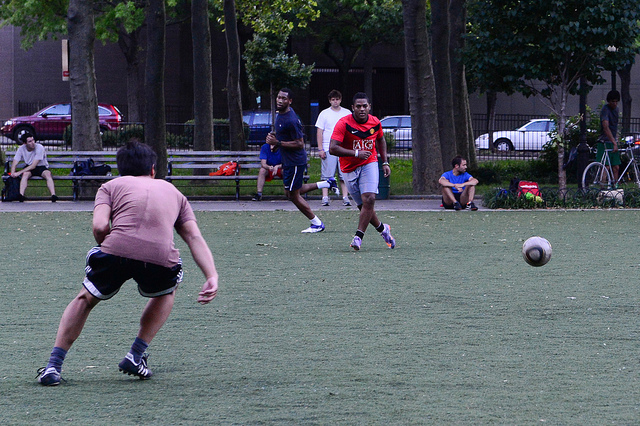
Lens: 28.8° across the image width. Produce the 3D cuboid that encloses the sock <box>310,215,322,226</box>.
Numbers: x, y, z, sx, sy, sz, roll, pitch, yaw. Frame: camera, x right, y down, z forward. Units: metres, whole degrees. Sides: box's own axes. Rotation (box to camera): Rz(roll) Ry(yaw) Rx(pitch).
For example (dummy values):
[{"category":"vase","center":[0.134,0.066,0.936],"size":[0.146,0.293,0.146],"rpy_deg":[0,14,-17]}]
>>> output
[{"category":"sock","center":[-0.051,0.120,23.594],"size":[0.176,0.170,0.199],"rpy_deg":[-1,14,-1]}]

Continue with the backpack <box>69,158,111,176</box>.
[{"category":"backpack","center":[-5.426,-1.105,29.655],"size":[0.672,0.273,0.427],"rpy_deg":[1,-2,-9]}]

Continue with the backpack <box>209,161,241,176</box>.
[{"category":"backpack","center":[-2.416,-1.127,30.674],"size":[0.937,0.395,0.298],"rpy_deg":[2,0,33]}]

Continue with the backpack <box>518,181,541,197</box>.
[{"category":"backpack","center":[4.750,-0.577,28.113],"size":[0.499,0.231,0.623],"rpy_deg":[1,15,8]}]

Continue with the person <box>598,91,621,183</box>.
[{"category":"person","center":[6.664,-1.816,28.513],"size":[0.528,2.134,1.330],"rpy_deg":[2,15,13]}]

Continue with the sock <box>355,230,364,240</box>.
[{"category":"sock","center":[0.712,0.344,21.559],"size":[0.125,0.199,0.260],"rpy_deg":[-1,14,0]}]

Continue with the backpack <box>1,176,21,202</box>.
[{"category":"backpack","center":[-7.162,-0.585,29.107],"size":[0.584,0.710,0.384],"rpy_deg":[3,0,-30]}]

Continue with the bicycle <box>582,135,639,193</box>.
[{"category":"bicycle","center":[6.590,-1.168,28.651],"size":[1.834,1.065,0.904],"rpy_deg":[-4,8,-12]}]

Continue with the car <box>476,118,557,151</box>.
[{"category":"car","center":[6.851,-3.024,44.323],"size":[3.645,1.211,1.529],"rpy_deg":[0,1,3]}]

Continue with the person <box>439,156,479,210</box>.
[{"category":"person","center":[3.057,-0.682,27.283],"size":[0.860,1.202,1.234],"rpy_deg":[-1,4,-9]}]

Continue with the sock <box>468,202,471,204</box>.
[{"category":"sock","center":[3.303,-0.248,27.314],"size":[0.058,0.040,0.028],"rpy_deg":[-3,15,-9]}]
